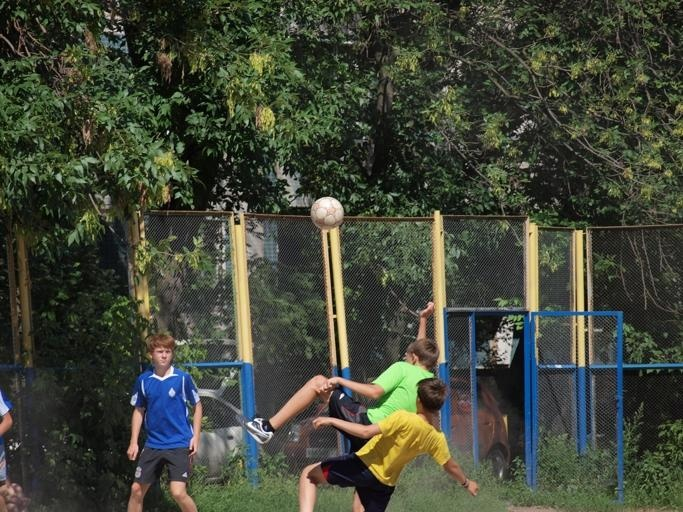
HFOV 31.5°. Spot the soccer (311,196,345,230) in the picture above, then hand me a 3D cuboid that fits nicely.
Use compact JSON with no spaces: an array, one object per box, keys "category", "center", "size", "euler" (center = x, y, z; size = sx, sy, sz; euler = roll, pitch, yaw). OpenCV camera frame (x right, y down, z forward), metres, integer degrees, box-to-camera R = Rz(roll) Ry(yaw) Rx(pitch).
[{"category":"soccer","center":[-0.163,-0.531,16.534],"size":[0.359,0.434,0.422],"euler":[6,-29,23]}]
